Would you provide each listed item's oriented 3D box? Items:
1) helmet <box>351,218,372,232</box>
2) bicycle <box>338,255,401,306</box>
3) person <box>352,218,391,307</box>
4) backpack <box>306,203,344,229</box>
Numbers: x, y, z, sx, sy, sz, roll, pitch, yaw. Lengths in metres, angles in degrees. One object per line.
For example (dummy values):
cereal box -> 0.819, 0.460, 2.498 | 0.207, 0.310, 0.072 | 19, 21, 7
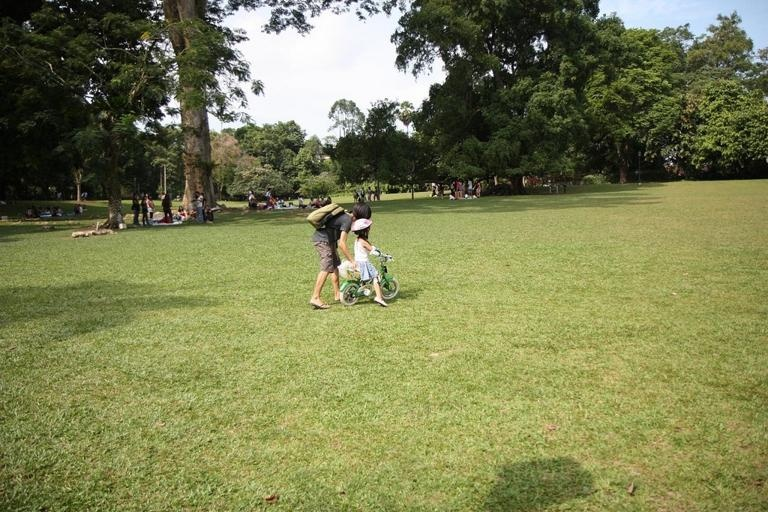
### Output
helmet -> -0.422, -0.583, 10.746 | 0.341, 0.247, 0.230 | -4, 7, 2
bicycle -> -0.332, 0.440, 11.465 | 1.190, 0.817, 0.742 | -7, 12, -19
person -> -0.285, 0.103, 11.012 | 0.569, 1.693, 0.756 | -4, 7, -3
backpack -> -1.105, -0.751, 11.040 | 0.613, 0.433, 0.336 | -6, 8, -17
